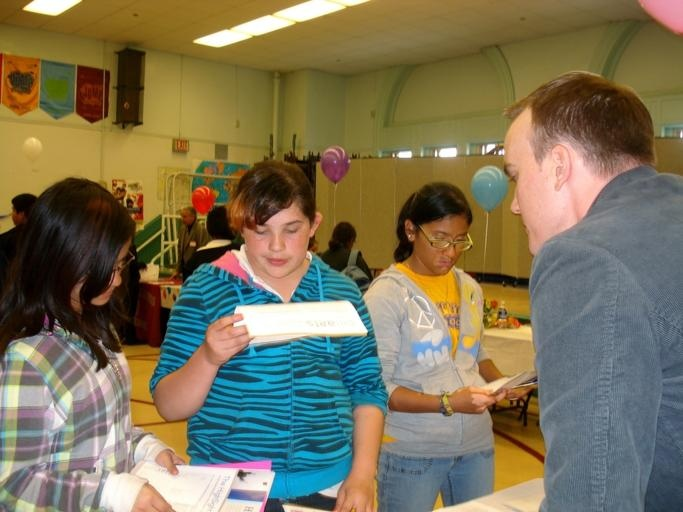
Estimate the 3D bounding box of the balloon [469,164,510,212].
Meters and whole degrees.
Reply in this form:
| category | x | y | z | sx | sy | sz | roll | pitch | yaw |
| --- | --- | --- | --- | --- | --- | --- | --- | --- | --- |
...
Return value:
| category | x | y | z | sx | sy | sz | roll | pitch | yaw |
| --- | --- | --- | --- | --- | --- | --- | --- | --- | --- |
| balloon | 1.634 | -0.732 | 5.723 | 0.414 | 0.552 | 0.409 | 2 | -1 | -36 |

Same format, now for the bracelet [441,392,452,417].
| category | x | y | z | sx | sy | sz | roll | pitch | yaw |
| --- | --- | --- | --- | --- | --- | --- | --- | --- | --- |
| bracelet | 0.371 | 0.531 | 1.834 | 0.023 | 0.066 | 0.054 | -6 | 4 | -2 |
